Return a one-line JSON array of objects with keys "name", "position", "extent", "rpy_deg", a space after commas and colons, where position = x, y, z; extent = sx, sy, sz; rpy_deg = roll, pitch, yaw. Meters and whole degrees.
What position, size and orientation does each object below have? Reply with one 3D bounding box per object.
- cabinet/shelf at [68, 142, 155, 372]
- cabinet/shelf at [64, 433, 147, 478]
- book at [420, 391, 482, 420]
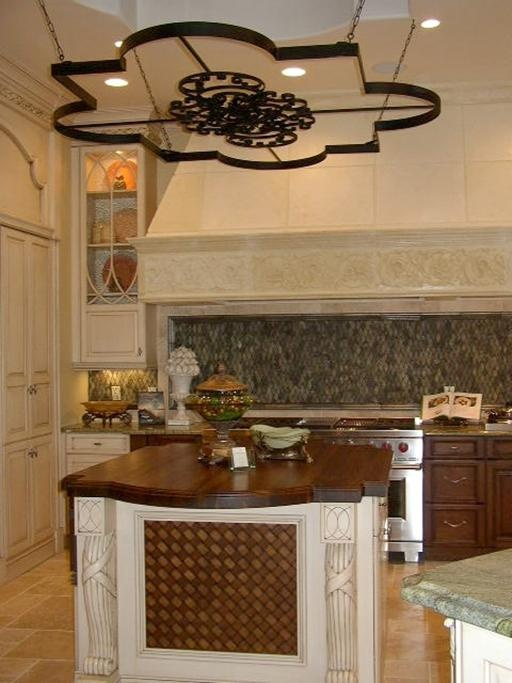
[{"name": "cabinet/shelf", "position": [-1.360, -0.703, 5.762], "extent": [0.645, 1.840, 0.463], "rpy_deg": [-6, 13, -33]}, {"name": "cabinet/shelf", "position": [-1.274, 0.955, 5.419], "extent": [0.592, 0.472, 0.370], "rpy_deg": [1, 5, -3]}, {"name": "book", "position": [1.510, 0.507, 5.003], "extent": [0.444, 0.232, 0.291], "rpy_deg": [-2, -3, 12]}]
